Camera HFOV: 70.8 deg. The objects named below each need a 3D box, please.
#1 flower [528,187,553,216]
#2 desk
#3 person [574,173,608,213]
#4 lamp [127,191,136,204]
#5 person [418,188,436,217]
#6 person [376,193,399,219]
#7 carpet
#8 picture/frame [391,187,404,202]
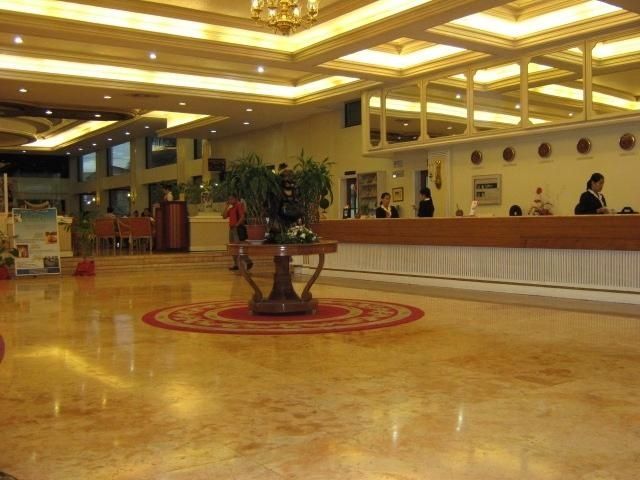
[{"bbox_3d":[4.607,-0.818,9.392,0.443,0.594,0.849,0,2,24],"label":"flower"},{"bbox_3d":[-0.604,0.559,6.658,1.735,0.908,1.532,2,-2,2],"label":"desk"},{"bbox_3d":[4.510,-0.762,7.480,0.467,0.690,0.777,0,2,29],"label":"person"},{"bbox_3d":[-10.095,-2.279,24.061,0.428,0.934,1.056,-3,0,-21],"label":"lamp"},{"bbox_3d":[2.354,-0.829,10.026,0.290,0.652,0.877,0,1,13],"label":"person"},{"bbox_3d":[1.530,-0.811,10.430,0.467,0.599,0.848,-1,1,7],"label":"person"},{"bbox_3d":[-0.489,1.016,6.135,3.678,0.065,2.108,-1,1,-1],"label":"carpet"},{"bbox_3d":[2.170,-1.286,12.578,0.054,0.416,0.505,2,-1,-39],"label":"picture/frame"}]
